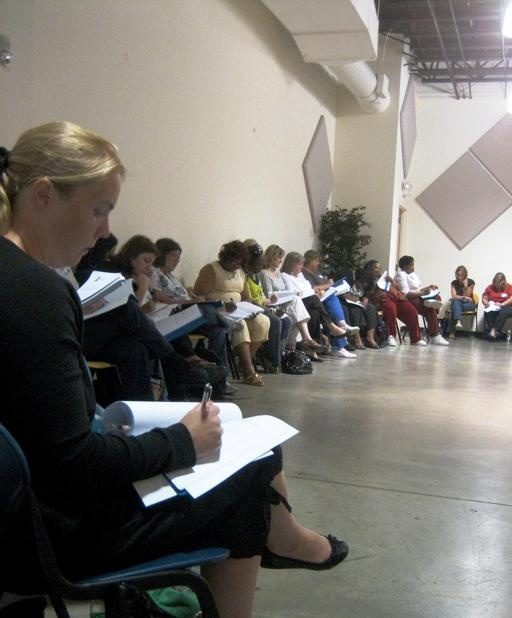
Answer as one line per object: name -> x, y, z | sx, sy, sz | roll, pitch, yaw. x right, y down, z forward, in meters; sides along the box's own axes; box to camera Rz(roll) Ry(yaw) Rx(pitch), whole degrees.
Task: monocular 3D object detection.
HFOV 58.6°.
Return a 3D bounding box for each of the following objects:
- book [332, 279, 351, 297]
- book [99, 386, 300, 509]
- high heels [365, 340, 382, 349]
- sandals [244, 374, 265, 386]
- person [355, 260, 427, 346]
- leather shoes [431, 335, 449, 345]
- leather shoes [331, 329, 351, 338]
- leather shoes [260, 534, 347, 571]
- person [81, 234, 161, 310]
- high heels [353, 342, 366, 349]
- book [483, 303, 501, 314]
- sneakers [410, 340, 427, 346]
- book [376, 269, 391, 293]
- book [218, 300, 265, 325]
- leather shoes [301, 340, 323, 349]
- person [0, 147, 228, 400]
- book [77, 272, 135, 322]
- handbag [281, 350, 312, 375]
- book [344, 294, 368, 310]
book -> 1.291, -0.296, 6.766 | 0.308, 0.220, 0.093 | -24, -37, -2
book -> -0.058, 0.202, 0.762 | 0.169, 0.078, 0.270 | 25, 21, 37
high heels -> 2.060, 0.621, 7.882 | 0.329, 0.128, 0.100 | 1, -1, 22
sandals -> -0.011, 0.659, 4.271 | 0.090, 0.066, 0.168 | -2, 0, -35
person -> 2.747, -0.216, 8.846 | 0.970, 1.624, 1.450 | -2, 19, 16
leather shoes -> 3.558, 0.606, 8.972 | 0.462, 0.210, 0.172 | 4, 10, 40
leather shoes -> 1.180, 0.344, 6.515 | 0.176, 0.104, 0.173 | -1, -7, 3
leather shoes -> 0.116, 0.532, 1.032 | 0.260, 0.085, 0.086 | 11, -31, -23
person -> -0.937, -0.324, 3.472 | 0.532, 0.759, 0.467 | 6, 22, -5
high heels -> 1.723, 0.625, 7.618 | 0.078, 0.087, 0.212 | 0, -1, -45
book -> 5.180, -0.036, 10.009 | 0.242, 0.099, 0.236 | -8, 22, 33
sneakers -> 3.117, 0.642, 8.710 | 0.115, 0.120, 0.285 | 0, -7, 2
book -> 2.335, -0.518, 8.278 | 0.139, 0.375, 0.293 | 15, 5, 1
book -> -0.122, 0.027, 4.226 | 0.207, 0.088, 0.313 | 27, 31, 33
leather shoes -> 0.731, 0.464, 6.034 | 0.277, 0.108, 0.099 | 15, 21, 2
person -> -0.898, 0.211, 3.294 | 1.479, 1.726, 0.679 | 1, 10, -22
book -> -0.702, -0.050, 2.143 | 0.197, 0.076, 0.214 | -4, 23, 37
handbag -> 0.465, 0.601, 5.075 | 0.235, 0.179, 0.296 | 1, -4, -18
book -> 1.665, -0.137, 7.616 | 0.296, 0.084, 0.316 | 31, 17, 37
